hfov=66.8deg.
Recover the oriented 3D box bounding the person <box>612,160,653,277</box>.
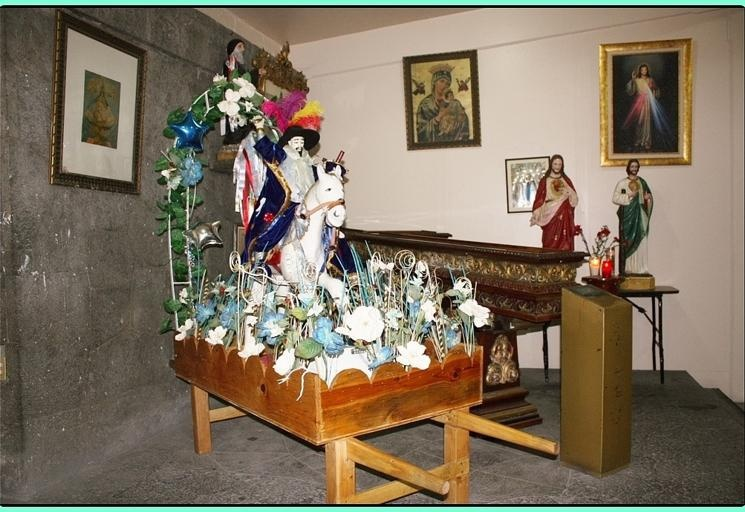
[{"bbox_3d":[3.023,-0.457,6.559,0.405,1.317,0.284,1,7,24],"label":"person"}]

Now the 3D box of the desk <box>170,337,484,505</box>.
[{"bbox_3d":[-0.400,0.930,3.885,2.067,0.859,0.980,5,4,43],"label":"desk"}]

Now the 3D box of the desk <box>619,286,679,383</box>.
[{"bbox_3d":[3.189,0.845,6.496,0.565,1.035,0.868,2,7,30],"label":"desk"}]

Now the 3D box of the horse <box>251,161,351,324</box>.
[{"bbox_3d":[-0.555,-0.204,4.352,0.723,1.086,1.460,-2,6,-3],"label":"horse"}]

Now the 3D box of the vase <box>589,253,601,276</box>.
[{"bbox_3d":[2.451,0.096,6.198,0.118,0.234,0.244,1,6,22],"label":"vase"}]
